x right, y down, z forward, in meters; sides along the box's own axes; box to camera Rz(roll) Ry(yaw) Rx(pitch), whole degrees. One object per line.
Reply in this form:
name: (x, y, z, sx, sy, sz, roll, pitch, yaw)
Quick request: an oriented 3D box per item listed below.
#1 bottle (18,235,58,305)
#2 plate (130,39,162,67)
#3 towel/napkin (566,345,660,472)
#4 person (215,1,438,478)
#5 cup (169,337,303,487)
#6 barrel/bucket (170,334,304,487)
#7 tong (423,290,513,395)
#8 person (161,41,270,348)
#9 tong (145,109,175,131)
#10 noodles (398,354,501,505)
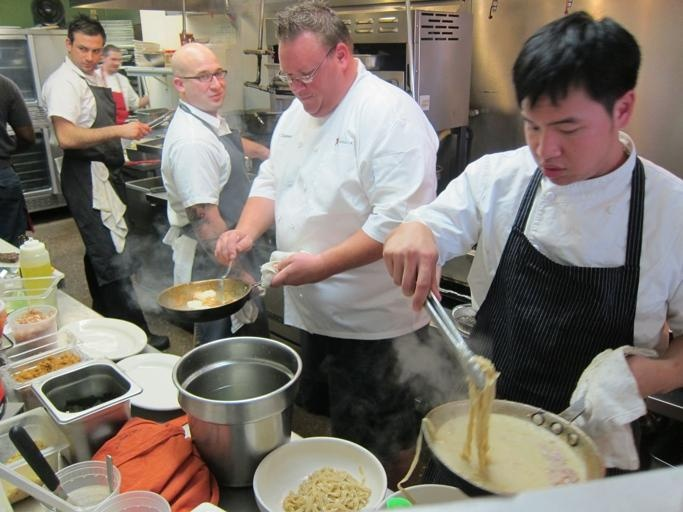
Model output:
bottle: (-1.240, 0.058, 2.297, 0.128, 0.226, 0.376, -13, 22, -27)
plate: (-1.937, -2.015, 5.657, 0.286, 0.229, 0.300, 10, 14, -17)
towel/napkin: (0.713, 0.393, 1.553, 0.186, 0.335, 0.216, 19, 23, 41)
person: (-0.002, 0.128, 2.695, 0.949, 2.367, 0.782, -10, 24, -39)
cup: (-0.295, 0.451, 1.670, 0.341, 0.330, 0.343, -2, 19, 1)
barrel/bucket: (-0.276, 0.407, 1.732, 0.372, 0.326, 0.410, 3, 23, 8)
tong: (0.298, 0.211, 1.452, 0.072, 0.065, 0.327, -21, 22, -1)
person: (-0.595, -0.433, 2.910, 0.520, 1.763, 0.536, -16, 31, -42)
tong: (-1.410, -1.063, 4.396, 0.266, 0.211, 0.487, -1, 17, -18)
noodles: (0.275, 0.418, 1.394, 0.179, 0.427, 0.194, 20, 22, 13)
